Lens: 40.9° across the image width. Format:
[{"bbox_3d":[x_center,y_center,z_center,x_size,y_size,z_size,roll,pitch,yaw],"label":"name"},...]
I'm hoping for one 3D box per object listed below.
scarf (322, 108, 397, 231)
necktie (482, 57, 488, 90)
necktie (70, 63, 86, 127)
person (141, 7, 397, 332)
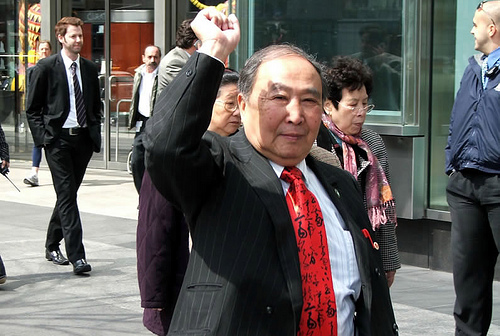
[{"bbox_3d":[0.823,-0.002,4.842,0.374,1.150,0.358,-8,27,9],"label":"scarf"},{"bbox_3d":[1.958,-0.771,5.559,0.044,0.251,0.144,4,9,20],"label":"necktie"},{"bbox_3d":[-1.992,-0.787,7.728,0.133,0.878,0.107,7,-23,-29],"label":"necktie"},{"bbox_3d":[0.108,0.029,3.252,1.198,1.570,0.543,-3,9,-25],"label":"person"}]
